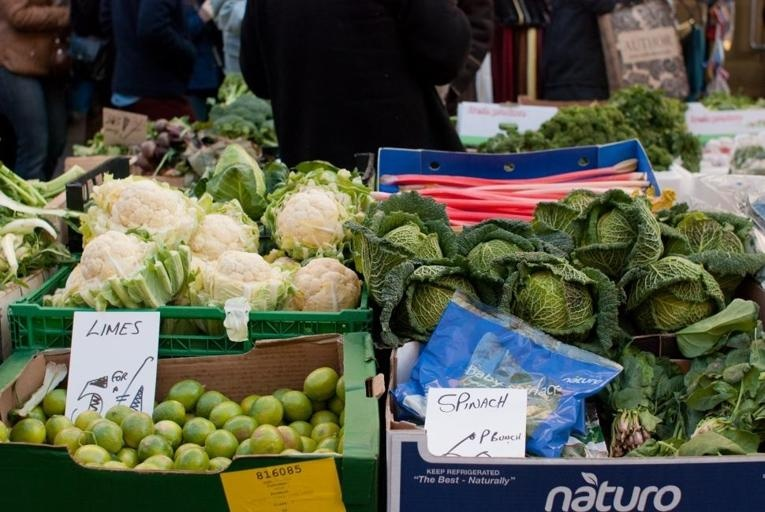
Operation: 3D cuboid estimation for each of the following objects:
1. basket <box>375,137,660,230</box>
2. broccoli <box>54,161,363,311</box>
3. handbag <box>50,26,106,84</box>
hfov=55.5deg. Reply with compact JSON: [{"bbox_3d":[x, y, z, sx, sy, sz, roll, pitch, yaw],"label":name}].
[{"bbox_3d":[0.876,-0.524,4.912,1.380,0.749,0.812,1,-16,4],"label":"basket"},{"bbox_3d":[-0.994,-0.017,3.868,0.951,0.356,0.980,0,29,-6],"label":"broccoli"},{"bbox_3d":[-3.040,-2.035,7.299,0.393,0.439,0.254,8,6,-15],"label":"handbag"}]
